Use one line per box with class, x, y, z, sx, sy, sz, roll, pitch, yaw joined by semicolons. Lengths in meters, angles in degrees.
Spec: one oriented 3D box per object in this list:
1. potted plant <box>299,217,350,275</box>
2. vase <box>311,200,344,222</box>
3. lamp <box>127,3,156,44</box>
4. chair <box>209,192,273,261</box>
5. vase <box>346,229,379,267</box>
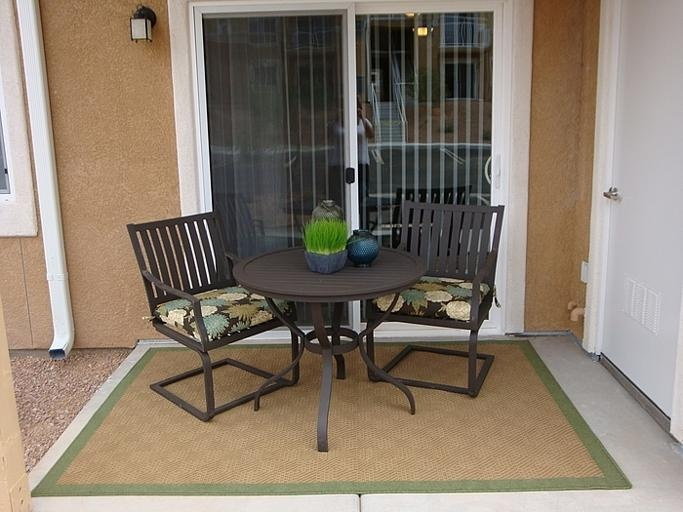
potted plant;-0.090;-0.076;2.756;0.314;0.348;0.283;-3;9;-14
vase;-0.081;-0.241;2.795;0.151;0.084;0.143;-1;11;-5
lamp;-1.319;-1.553;3.375;0.192;0.232;0.207;-9;20;-18
chair;-0.717;-0.233;3.604;0.273;0.450;0.313;-23;37;-23
vase;0.109;-0.042;2.917;0.201;0.190;0.211;5;10;28
